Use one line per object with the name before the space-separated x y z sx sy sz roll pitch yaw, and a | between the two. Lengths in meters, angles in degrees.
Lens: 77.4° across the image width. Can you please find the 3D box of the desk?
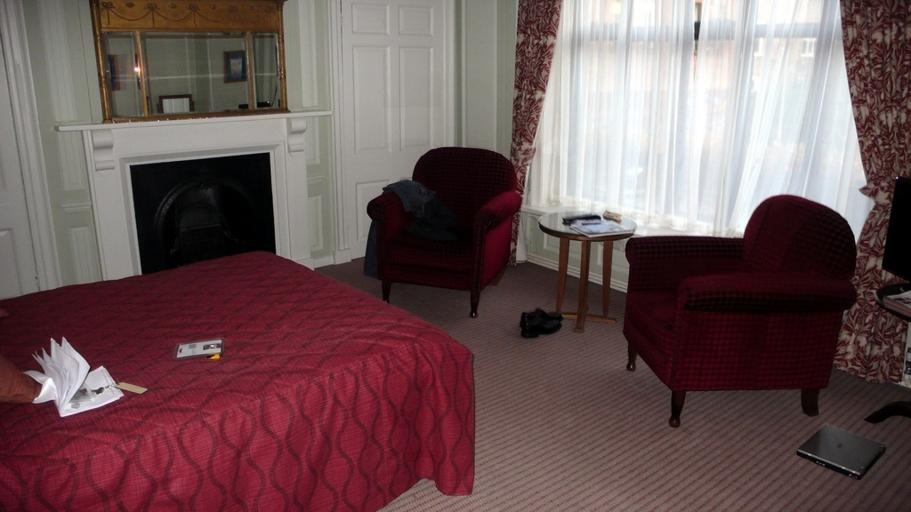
desk | 1.178 0.175 5.470 0.864 0.842 0.869 -8 1 32

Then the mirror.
mirror | -2.528 -1.780 5.563 1.582 0.768 0.153 -10 23 -26

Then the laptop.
laptop | 2.770 1.409 4.097 0.460 0.127 0.423 -17 25 -40

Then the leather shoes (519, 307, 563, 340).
leather shoes | 0.827 0.634 5.373 0.359 0.117 0.242 -10 20 -15

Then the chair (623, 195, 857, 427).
chair | 2.196 0.333 4.669 1.577 1.531 1.605 2 16 15
